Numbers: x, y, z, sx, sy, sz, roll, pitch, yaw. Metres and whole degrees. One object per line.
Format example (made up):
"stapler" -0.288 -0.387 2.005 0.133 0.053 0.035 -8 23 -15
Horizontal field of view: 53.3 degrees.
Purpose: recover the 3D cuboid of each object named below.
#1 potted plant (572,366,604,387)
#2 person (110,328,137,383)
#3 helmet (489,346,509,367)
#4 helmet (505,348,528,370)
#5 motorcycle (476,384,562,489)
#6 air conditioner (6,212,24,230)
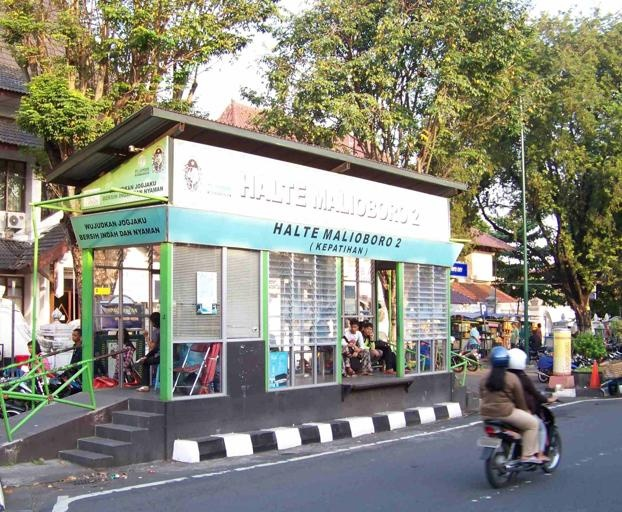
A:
"potted plant" 8.564 3.743 19.369 0.651 0.462 0.673 -6 -9 42
"person" -3.740 1.978 12.394 0.397 1.054 0.434 0 -7 -13
"helmet" 2.401 1.283 7.984 0.258 0.281 0.220 -1 -15 6
"helmet" 2.683 1.351 8.054 0.221 0.322 0.301 8 12 12
"motorcycle" 2.537 2.431 8.082 0.708 0.989 1.456 -6 -7 42
"air conditioner" -10.988 -1.305 22.936 0.216 0.548 0.598 -4 -7 22
